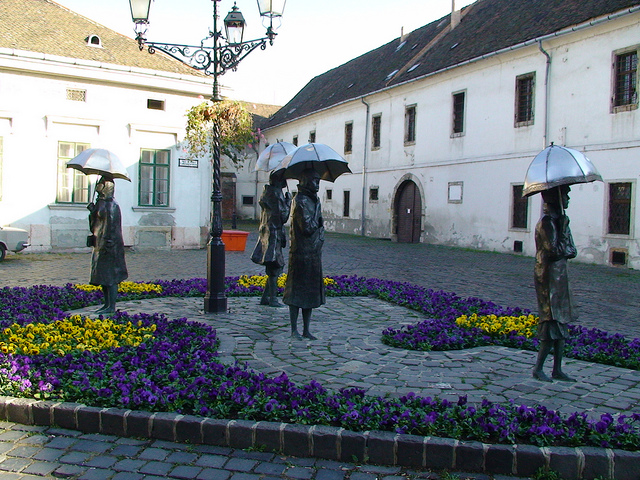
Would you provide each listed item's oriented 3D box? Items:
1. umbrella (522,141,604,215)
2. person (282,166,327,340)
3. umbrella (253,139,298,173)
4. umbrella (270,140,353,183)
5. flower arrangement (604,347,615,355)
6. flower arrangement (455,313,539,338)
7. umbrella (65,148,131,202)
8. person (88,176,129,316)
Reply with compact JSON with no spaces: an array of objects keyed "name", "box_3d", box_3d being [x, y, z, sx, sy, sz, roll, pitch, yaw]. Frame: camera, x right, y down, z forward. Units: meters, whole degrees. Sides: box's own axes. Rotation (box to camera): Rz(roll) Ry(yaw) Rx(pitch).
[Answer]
[{"name":"umbrella","box_3d":[2.972,-0.672,8.006,0.919,0.916,0.933,-17,-11,22]},{"name":"person","box_3d":[-0.237,0.166,9.379,0.627,2.511,0.630,1,7,-4]},{"name":"umbrella","box_3d":[-0.918,-1.613,12.133,0.672,0.308,0.671,-21,8,-24]},{"name":"umbrella","box_3d":[-0.150,-1.186,9.603,1.001,0.572,1.172,-1,8,-24]},{"name":"flower arrangement","box_3d":[3.999,1.536,8.781,0.084,0.049,0.082,8,7,42]},{"name":"flower arrangement","box_3d":[2.888,1.327,10.118,0.639,0.217,0.801,6,6,38]},{"name":"umbrella","box_3d":[-3.826,-1.053,10.642,0.833,0.780,0.787,4,-6,-8]},{"name":"person","box_3d":[-3.545,0.074,10.482,0.605,2.237,0.664,-2,8,-31]}]
